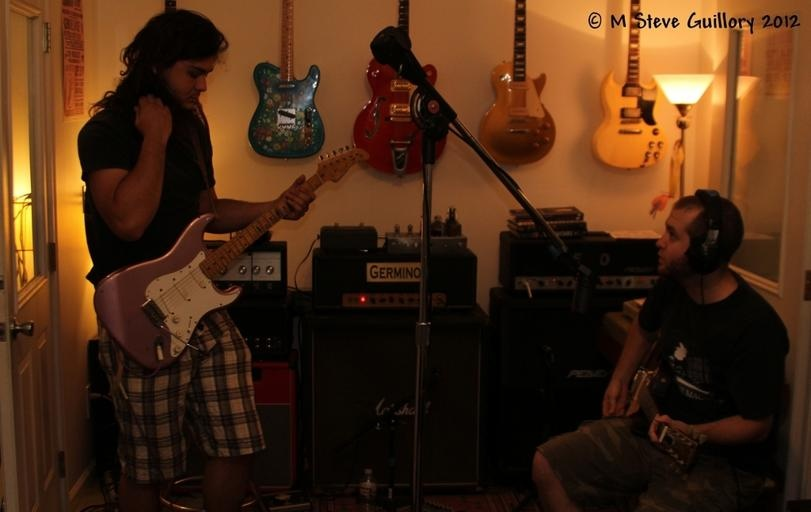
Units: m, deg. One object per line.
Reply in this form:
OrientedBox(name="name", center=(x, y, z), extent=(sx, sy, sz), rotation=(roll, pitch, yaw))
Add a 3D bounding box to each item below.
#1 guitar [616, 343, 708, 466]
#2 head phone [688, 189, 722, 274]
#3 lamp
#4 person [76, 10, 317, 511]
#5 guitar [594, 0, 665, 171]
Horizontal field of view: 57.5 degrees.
OrientedBox(name="guitar", center=(1.053, 0.655, 3.039), extent=(0.092, 0.346, 0.194), rotation=(-19, -25, -27))
OrientedBox(name="head phone", center=(1.198, -0.085, 2.956), extent=(0.119, 0.365, 0.313), rotation=(1, -3, 6))
OrientedBox(name="lamp", center=(1.565, -0.669, 4.184), extent=(0.306, 0.695, 0.409), rotation=(2, 8, 21))
OrientedBox(name="person", center=(-0.926, 0.038, 3.052), extent=(0.731, 2.055, 0.497), rotation=(-4, 8, -23))
OrientedBox(name="guitar", center=(1.280, -0.983, 4.246), extent=(0.404, 0.941, 0.136), rotation=(-2, 7, -8))
